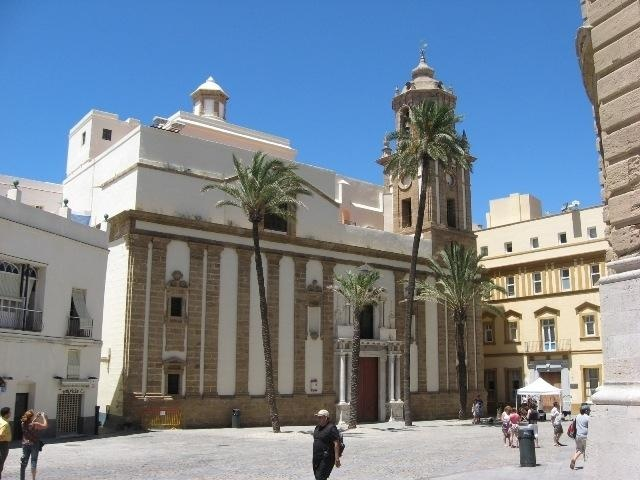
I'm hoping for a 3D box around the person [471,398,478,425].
[{"bbox_3d":[10.288,11.359,42.694,0.507,1.617,2.205,-6,-18,12],"label":"person"}]

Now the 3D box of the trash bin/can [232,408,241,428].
[{"bbox_3d":[-4.787,10.109,36.535,0.501,1.004,0.651,2,-17,-12],"label":"trash bin/can"}]
